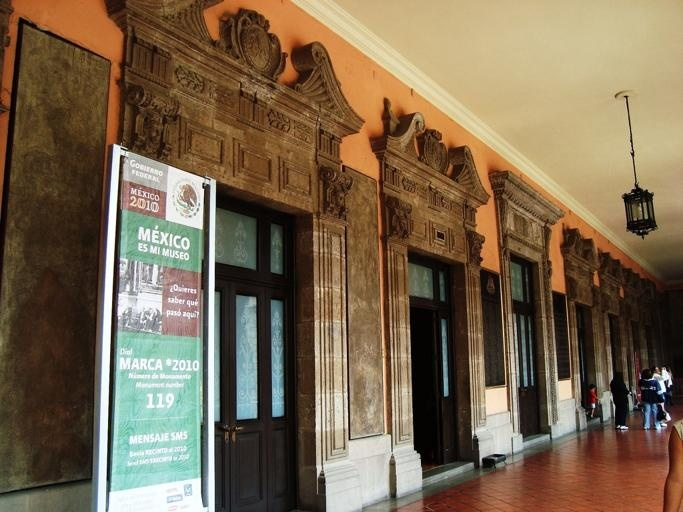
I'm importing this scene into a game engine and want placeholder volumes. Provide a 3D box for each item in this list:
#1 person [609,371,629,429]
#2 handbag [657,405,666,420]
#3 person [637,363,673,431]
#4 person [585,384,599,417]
[{"bbox_3d":[7.353,3.764,15.029,0.404,1.504,1.514,-9,-17,24],"label":"person"},{"bbox_3d":[8.215,4.018,14.667,0.133,0.445,0.272,1,2,43],"label":"handbag"},{"bbox_3d":[8.235,3.722,15.078,0.634,1.578,1.729,-11,-18,28],"label":"person"},{"bbox_3d":[7.438,4.248,16.865,0.353,0.943,1.083,-9,-17,22],"label":"person"}]
